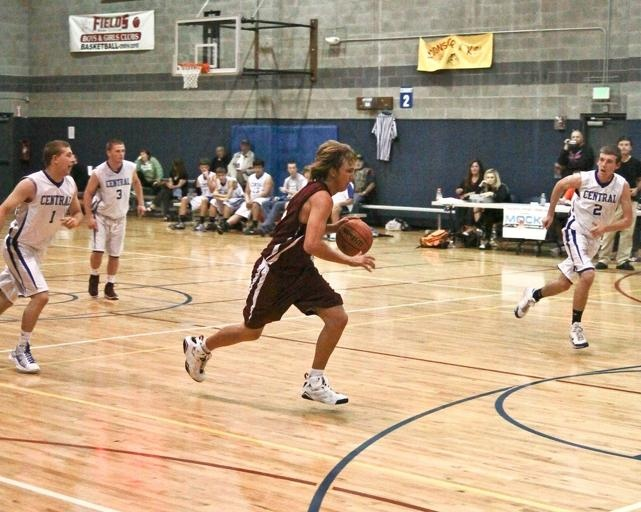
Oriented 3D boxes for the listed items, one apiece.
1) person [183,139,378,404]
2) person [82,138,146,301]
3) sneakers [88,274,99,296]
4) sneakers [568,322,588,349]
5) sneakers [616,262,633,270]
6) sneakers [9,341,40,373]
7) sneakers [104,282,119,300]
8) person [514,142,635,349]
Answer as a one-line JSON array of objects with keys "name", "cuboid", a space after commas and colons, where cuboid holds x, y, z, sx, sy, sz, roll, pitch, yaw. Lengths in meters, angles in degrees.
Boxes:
[{"name": "person", "cuboid": [-0.182, 0.140, 3.934, 1.142, 1.742, 0.495, 5, 7, 37]}, {"name": "person", "cuboid": [-2.699, -0.491, 7.935, 0.722, 2.048, 1.125, -1, 6, -19]}, {"name": "sneakers", "cuboid": [-2.976, 0.390, 7.999, 0.110, 0.312, 0.135, -4, 1, -39]}, {"name": "sneakers", "cuboid": [2.466, 0.741, 5.815, 0.125, 0.159, 0.366, -2, 5, 2]}, {"name": "sneakers", "cuboid": [5.432, 0.152, 10.856, 0.191, 0.118, 0.195, -1, 3, 1]}, {"name": "sneakers", "cuboid": [-2.346, 0.787, 4.802, 0.328, 0.243, 0.139, 4, 6, 28]}, {"name": "sneakers", "cuboid": [-2.710, 0.442, 7.838, 0.145, 0.211, 0.246, -3, 6, -34]}, {"name": "person", "cuboid": [2.562, -0.112, 5.919, 0.795, 1.920, 0.805, 4, 6, 26]}]
